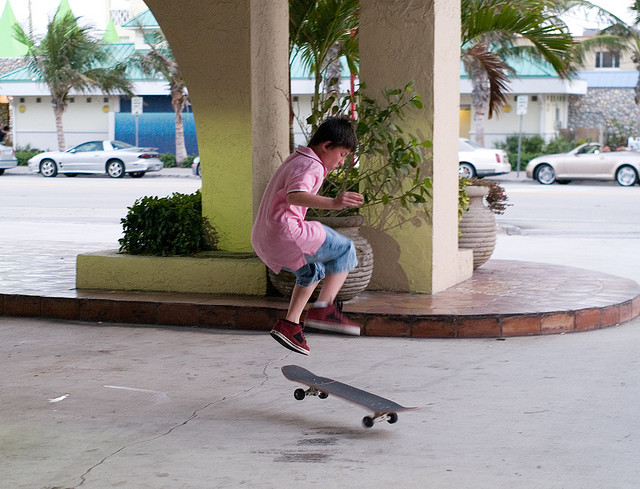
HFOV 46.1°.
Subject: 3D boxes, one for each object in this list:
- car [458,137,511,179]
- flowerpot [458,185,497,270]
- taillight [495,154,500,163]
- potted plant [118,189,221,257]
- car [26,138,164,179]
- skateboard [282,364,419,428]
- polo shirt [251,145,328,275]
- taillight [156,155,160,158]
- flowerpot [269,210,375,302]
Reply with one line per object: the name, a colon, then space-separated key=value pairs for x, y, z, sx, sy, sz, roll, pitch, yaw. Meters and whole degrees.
car: x=5.601 y=-2.993 z=26.003 sx=1.937 sy=1.262 sz=0.964 roll=-2 pitch=11 yaw=-12
flowerpot: x=1.975 y=-0.205 z=9.438 sx=0.357 sy=1.037 sz=0.634 roll=8 pitch=13 yaw=33
taillight: x=6.098 y=-2.959 z=25.883 sx=0.142 sy=0.280 sz=0.041 roll=-4 pitch=12 yaw=-19
potted plant: x=-1.681 y=-0.229 z=8.466 sx=1.099 sy=0.669 sz=0.812 roll=-7 pitch=12 yaw=-38
car: x=-9.107 y=-3.415 z=30.754 sx=5.182 sy=1.195 sz=2.081 roll=3 pitch=3 yaw=12
skateboard: x=0.150 y=0.937 z=4.729 sx=1.112 sy=0.149 sz=0.286 roll=10 pitch=10 yaw=38
polo shirt: x=-0.237 y=-0.219 z=5.160 sx=0.538 sy=0.919 sz=0.401 roll=2 pitch=11 yaw=9
taillight: x=-6.560 y=-3.578 z=30.567 sx=0.182 sy=0.075 sz=0.093 roll=0 pitch=-3 yaw=28
flowerpot: x=0.167 y=0.102 z=7.361 sx=1.083 sy=0.690 sz=1.024 roll=1 pitch=1 yaw=32
